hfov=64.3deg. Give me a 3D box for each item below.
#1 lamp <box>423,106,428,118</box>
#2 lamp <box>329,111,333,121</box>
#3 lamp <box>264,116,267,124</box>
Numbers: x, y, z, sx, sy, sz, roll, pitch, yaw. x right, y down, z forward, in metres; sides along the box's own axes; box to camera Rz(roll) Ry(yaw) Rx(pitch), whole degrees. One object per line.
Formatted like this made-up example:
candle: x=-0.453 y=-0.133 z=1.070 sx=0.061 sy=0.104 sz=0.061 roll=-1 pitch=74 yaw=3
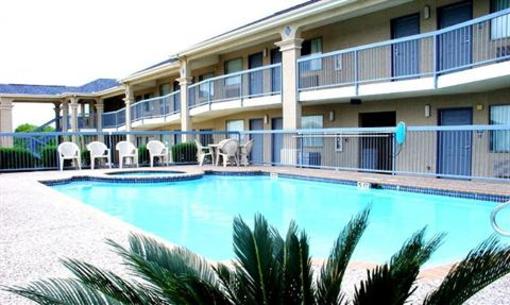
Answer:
lamp: x=6.326 y=-1.526 z=14.952 sx=0.201 sy=0.422 sz=0.126 roll=3 pitch=10 yaw=22
lamp: x=3.333 y=-1.597 z=17.661 sx=0.134 sy=0.433 sz=0.271 roll=-6 pitch=10 yaw=-27
lamp: x=0.552 y=-1.658 z=20.382 sx=0.083 sy=0.425 sz=0.294 roll=-9 pitch=12 yaw=-39
